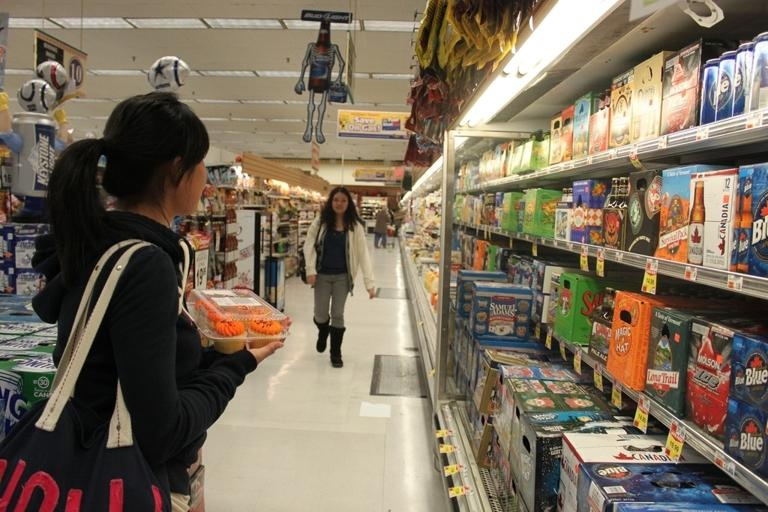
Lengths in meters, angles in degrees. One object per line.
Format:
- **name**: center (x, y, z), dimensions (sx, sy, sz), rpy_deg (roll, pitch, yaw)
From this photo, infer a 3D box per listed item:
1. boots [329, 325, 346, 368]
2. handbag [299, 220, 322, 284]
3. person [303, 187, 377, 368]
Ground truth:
- **boots**: center (-0.479, 0.915, 5.045), dimensions (0.186, 0.377, 0.349), rpy_deg (2, -4, -7)
- **handbag**: center (-0.726, -0.038, 5.099), dimensions (0.185, 0.694, 0.412), rpy_deg (1, 8, -15)
- **person**: center (-0.458, 0.194, 5.190), dimensions (0.728, 1.791, 0.684), rpy_deg (2, 8, -6)
